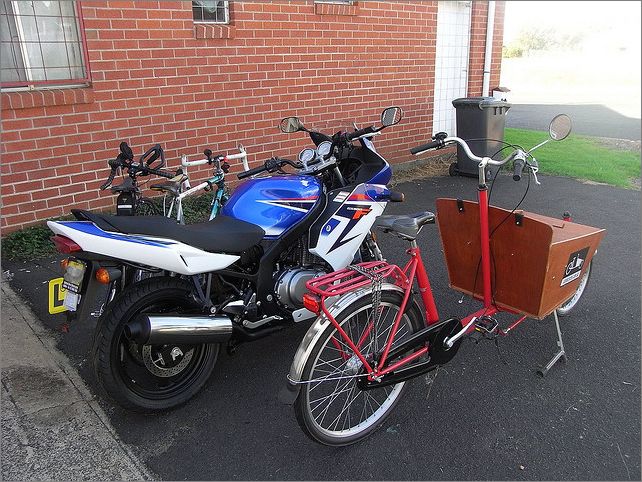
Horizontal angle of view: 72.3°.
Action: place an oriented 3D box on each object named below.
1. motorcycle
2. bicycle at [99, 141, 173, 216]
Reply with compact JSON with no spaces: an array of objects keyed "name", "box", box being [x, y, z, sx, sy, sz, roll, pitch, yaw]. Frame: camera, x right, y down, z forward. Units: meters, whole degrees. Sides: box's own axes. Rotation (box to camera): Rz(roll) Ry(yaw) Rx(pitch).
[{"name":"motorcycle","box":[-0.481,0.043,3.534,1.425,1.808,3.134,13,20,34]},{"name":"bicycle","box":[-1.481,-0.445,3.514,0.625,0.537,0.827,3,4,-18]}]
